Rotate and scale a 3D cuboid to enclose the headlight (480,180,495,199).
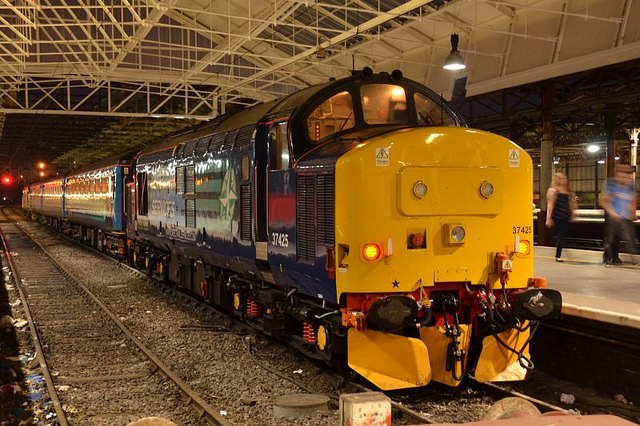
[{"bbox_3d":[2.440,-0.361,7.298,0.230,0.246,0.054,2,0,-38],"label":"headlight"}]
